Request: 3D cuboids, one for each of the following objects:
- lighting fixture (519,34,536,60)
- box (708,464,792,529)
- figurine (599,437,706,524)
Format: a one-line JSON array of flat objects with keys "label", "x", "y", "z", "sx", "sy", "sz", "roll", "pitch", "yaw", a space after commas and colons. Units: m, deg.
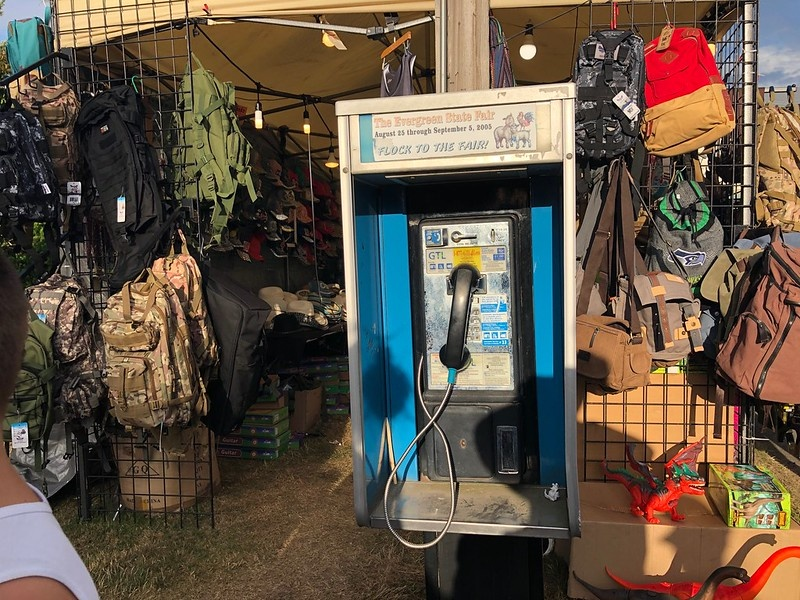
[{"label": "lighting fixture", "x": 1.022, "y": -2.008, "z": 6.351, "sx": 0.096, "sy": 0.178, "sz": 0.346, "roll": 1, "pitch": 12, "yaw": 12}, {"label": "box", "x": 2.172, "y": 1.213, "z": 4.993, "sx": 0.400, "sy": 0.230, "sz": 0.475, "roll": -2, "pitch": 12, "yaw": 0}, {"label": "figurine", "x": 1.614, "y": 1.150, "z": 5.034, "sx": 0.416, "sy": 0.362, "sz": 0.496, "roll": 13, "pitch": -6, "yaw": -31}]
